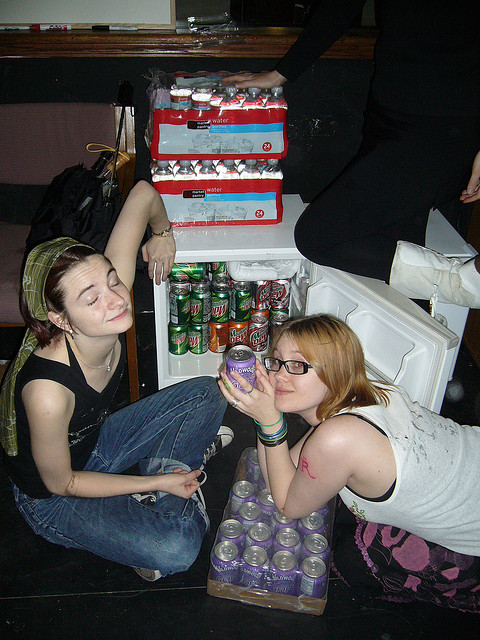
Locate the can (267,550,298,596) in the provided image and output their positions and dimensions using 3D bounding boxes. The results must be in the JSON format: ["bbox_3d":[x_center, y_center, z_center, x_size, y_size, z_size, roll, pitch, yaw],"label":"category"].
[{"bbox_3d":[0.098,0.580,1.188,0.056,0.094,0.058,2,39,-2],"label":"can"}]

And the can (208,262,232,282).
[{"bbox_3d":[-0.084,-0.187,1.928,0.069,0.120,0.064,2,63,-3],"label":"can"}]

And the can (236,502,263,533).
[{"bbox_3d":[0.025,0.486,1.297,0.058,0.061,0.057,27,43,30],"label":"can"}]

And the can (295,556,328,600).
[{"bbox_3d":[0.162,0.596,1.186,0.070,0.110,0.054,10,25,18],"label":"can"}]

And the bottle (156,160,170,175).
[{"bbox_3d":[-0.243,-0.480,1.642,0.041,0.040,0.039,-18,48,-21],"label":"bottle"}]

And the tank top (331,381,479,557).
[{"bbox_3d":[0.343,0.317,1.045,0.303,0.355,0.242,6,24,12],"label":"tank top"}]

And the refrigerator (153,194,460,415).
[{"bbox_3d":[0.076,-0.008,1.679,0.690,0.603,1.093,-3,24,-10],"label":"refrigerator"}]

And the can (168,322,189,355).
[{"bbox_3d":[-0.234,0.064,1.966,0.068,0.107,0.065,3,44,-3],"label":"can"}]

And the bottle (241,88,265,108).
[{"bbox_3d":[0.040,-0.675,1.586,0.081,0.072,0.050,8,37,4],"label":"bottle"}]

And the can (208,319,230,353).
[{"bbox_3d":[-0.081,0.054,1.987,0.067,0.115,0.065,1,46,-1],"label":"can"}]

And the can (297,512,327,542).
[{"bbox_3d":[0.174,0.498,1.265,0.072,0.075,0.069,-4,31,-12],"label":"can"}]

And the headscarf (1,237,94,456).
[{"bbox_3d":[-0.422,0.056,1.165,0.205,0.451,0.218,-7,33,-15],"label":"headscarf"}]

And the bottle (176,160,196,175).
[{"bbox_3d":[-0.173,-0.486,1.679,0.046,0.044,0.047,17,48,12],"label":"bottle"}]

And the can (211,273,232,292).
[{"bbox_3d":[-0.064,-0.145,1.950,0.064,0.060,0.061,1,46,-3],"label":"can"}]

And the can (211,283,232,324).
[{"bbox_3d":[-0.072,-0.057,1.954,0.086,0.135,0.079,2,27,-1],"label":"can"}]

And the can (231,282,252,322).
[{"bbox_3d":[0.005,-0.074,1.908,0.081,0.136,0.076,0,41,0],"label":"can"}]

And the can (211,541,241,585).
[{"bbox_3d":[-0.023,0.577,1.247,0.065,0.063,0.110,35,13,-9],"label":"can"}]

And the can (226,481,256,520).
[{"bbox_3d":[0.004,0.474,1.358,0.072,0.120,0.069,4,36,-3],"label":"can"}]

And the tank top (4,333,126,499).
[{"bbox_3d":[-0.392,0.220,1.163,0.200,0.386,0.287,25,30,-11],"label":"tank top"}]

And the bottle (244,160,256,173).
[{"bbox_3d":[0.031,-0.496,1.674,0.037,0.033,0.035,-1,40,-6],"label":"bottle"}]

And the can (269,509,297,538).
[{"bbox_3d":[0.106,0.503,1.281,0.058,0.060,0.056,3,39,3],"label":"can"}]

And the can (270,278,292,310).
[{"bbox_3d":[0.150,-0.102,1.960,0.064,0.104,0.062,2,40,-1],"label":"can"}]

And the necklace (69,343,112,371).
[{"bbox_3d":[-0.330,0.078,1.133,0.051,0.015,0.054,52,21,12],"label":"necklace"}]

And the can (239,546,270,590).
[{"bbox_3d":[0.033,0.586,1.212,0.070,0.106,0.055,2,24,3],"label":"can"}]

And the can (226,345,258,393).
[{"bbox_3d":[0.003,0.110,1.136,0.056,0.093,0.054,-3,34,2],"label":"can"}]

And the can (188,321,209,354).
[{"bbox_3d":[-0.161,0.061,1.982,0.073,0.118,0.070,1,40,-1],"label":"can"}]

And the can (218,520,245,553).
[{"bbox_3d":[-0.016,0.508,1.265,0.069,0.074,0.066,8,29,8],"label":"can"}]

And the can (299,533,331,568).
[{"bbox_3d":[0.175,0.526,1.208,0.065,0.068,0.062,-3,32,-8],"label":"can"}]

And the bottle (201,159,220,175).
[{"bbox_3d":[-0.092,-0.487,1.669,0.053,0.047,0.051,-16,50,-15],"label":"bottle"}]
